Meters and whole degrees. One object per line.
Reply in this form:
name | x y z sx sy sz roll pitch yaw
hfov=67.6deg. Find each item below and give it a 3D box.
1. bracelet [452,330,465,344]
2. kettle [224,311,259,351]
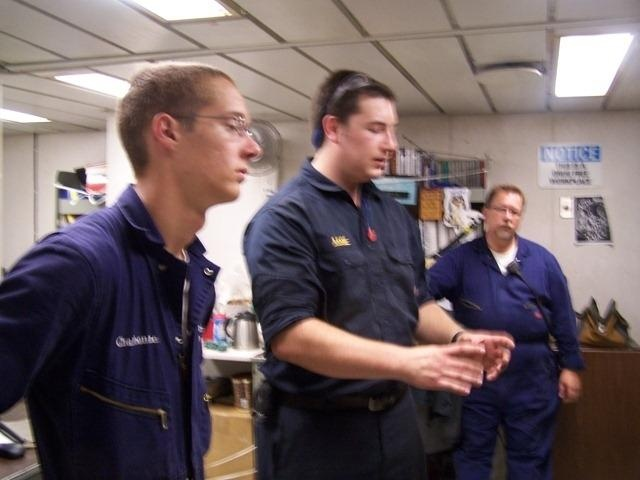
bracelet | 0.441 0.314 1.546 0.034 0.035 0.026 11 -38 -30
kettle | -0.610 0.688 3.713 0.303 0.344 0.270 -1 -3 5
